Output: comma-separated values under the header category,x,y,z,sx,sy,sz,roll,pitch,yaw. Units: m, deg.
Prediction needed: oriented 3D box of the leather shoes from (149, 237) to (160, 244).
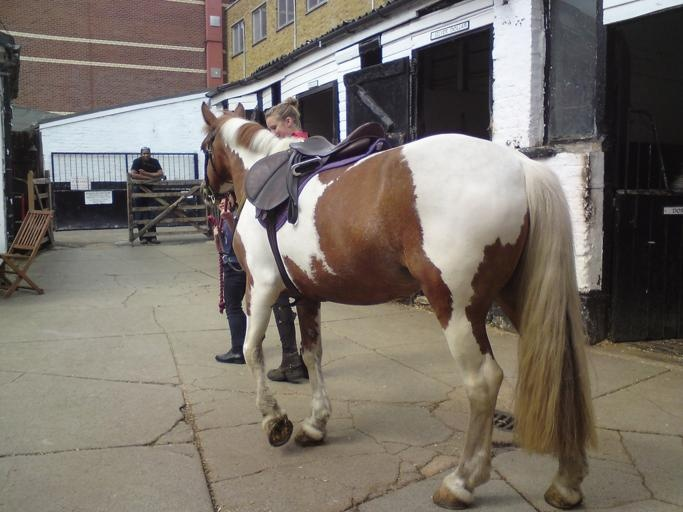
category,x,y,z,sx,sy,sz,roll,pitch,yaw
leather shoes,-4.618,-0.385,15.313,0.103,0.127,0.281,-4,4,-32
